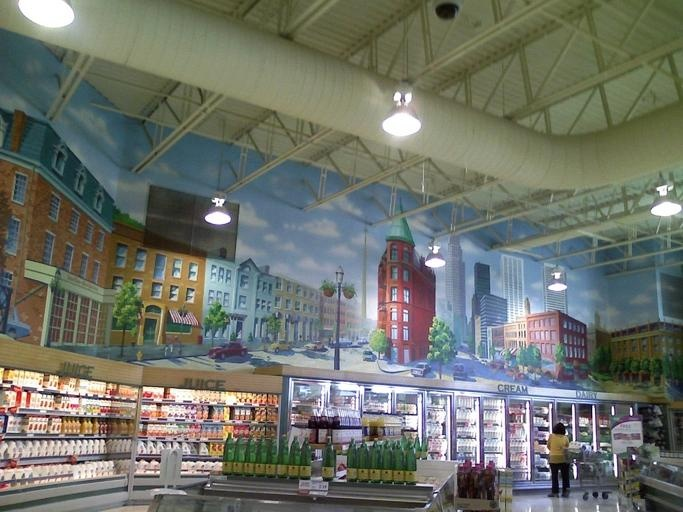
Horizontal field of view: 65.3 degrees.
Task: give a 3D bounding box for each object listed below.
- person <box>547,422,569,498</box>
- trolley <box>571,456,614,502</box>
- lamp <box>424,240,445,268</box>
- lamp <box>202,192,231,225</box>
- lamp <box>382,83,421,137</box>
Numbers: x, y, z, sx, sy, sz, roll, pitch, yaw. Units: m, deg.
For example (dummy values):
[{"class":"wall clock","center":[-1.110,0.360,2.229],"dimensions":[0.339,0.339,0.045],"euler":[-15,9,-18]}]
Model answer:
[{"class":"person","center":[5.155,4.828,12.674],"dimensions":[0.450,1.735,0.945],"euler":[-3,-16,20]},{"class":"trolley","center":[6.618,5.906,14.167],"dimensions":[0.926,1.364,1.367],"euler":[-4,-12,16]},{"class":"lamp","center":[1.973,-0.105,11.290],"dimensions":[0.326,0.669,0.600],"euler":[0,-15,9]},{"class":"lamp","center":[-2.250,-0.904,9.773],"dimensions":[0.380,0.540,0.469],"euler":[10,-17,-26]},{"class":"lamp","center":[0.776,-1.977,6.942],"dimensions":[0.388,0.693,0.358],"euler":[12,-17,-31]}]
